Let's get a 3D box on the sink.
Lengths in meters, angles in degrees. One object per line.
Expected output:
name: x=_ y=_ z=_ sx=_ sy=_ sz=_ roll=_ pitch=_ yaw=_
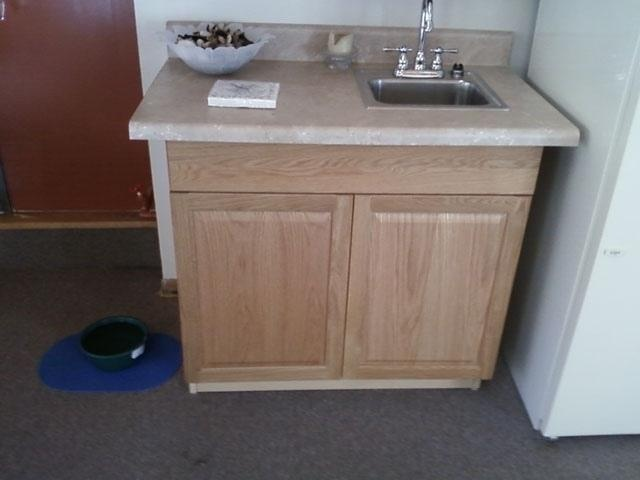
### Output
sink: x=0.378 y=-0.512 z=2.091 sx=0.502 sy=0.121 sz=0.422 roll=2 pitch=31 yaw=-1

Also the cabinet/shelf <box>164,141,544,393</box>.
cabinet/shelf: x=0.122 y=0.075 z=1.974 sx=1.017 sy=0.827 sz=0.350 roll=0 pitch=38 yaw=0

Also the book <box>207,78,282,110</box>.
book: x=-0.255 y=-0.501 z=1.942 sx=0.226 sy=0.042 sz=0.254 roll=1 pitch=31 yaw=-3

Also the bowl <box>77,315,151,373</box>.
bowl: x=-0.826 y=0.430 z=2.333 sx=0.252 sy=0.145 sz=0.222 roll=-10 pitch=34 yaw=-21

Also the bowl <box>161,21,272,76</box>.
bowl: x=-0.380 y=-0.660 z=2.093 sx=0.332 sy=0.110 sz=0.332 roll=4 pitch=18 yaw=-1
